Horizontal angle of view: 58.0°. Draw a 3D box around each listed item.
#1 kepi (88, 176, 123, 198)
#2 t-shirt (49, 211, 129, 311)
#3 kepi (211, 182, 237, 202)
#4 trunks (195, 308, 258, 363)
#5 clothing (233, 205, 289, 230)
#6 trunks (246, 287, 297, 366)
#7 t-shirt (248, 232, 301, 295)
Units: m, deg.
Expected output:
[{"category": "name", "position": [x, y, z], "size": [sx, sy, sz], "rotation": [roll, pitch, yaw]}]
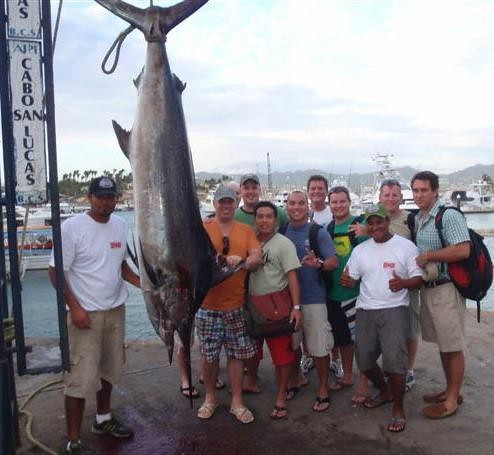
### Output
[{"category": "kepi", "position": [-0.856, -0.240, 2.672], "size": [0.128, 0.099, 0.181], "rotation": [4, 1, -27]}, {"category": "t-shirt", "position": [-0.938, 0.206, 2.678], "size": [0.340, 0.625, 0.603], "rotation": [5, 4, 38]}, {"category": "kepi", "position": [-0.144, -0.254, 3.059], "size": [0.120, 0.092, 0.174], "rotation": [2, -11, -1]}, {"category": "trunks", "position": [-0.151, 0.731, 3.122], "size": [0.395, 0.376, 0.220], "rotation": [2, -7, -12]}, {"category": "clothing", "position": [0.112, -0.103, 3.746], "size": [0.473, 0.179, 0.334], "rotation": [0, 9, 15]}, {"category": "trunks", "position": [0.133, 0.666, 3.050], "size": [0.332, 0.483, 0.228], "rotation": [1, -9, -14]}, {"category": "t-shirt", "position": [0.154, 0.278, 3.206], "size": [0.476, 0.473, 0.218], "rotation": [-9, -18, 36]}]
